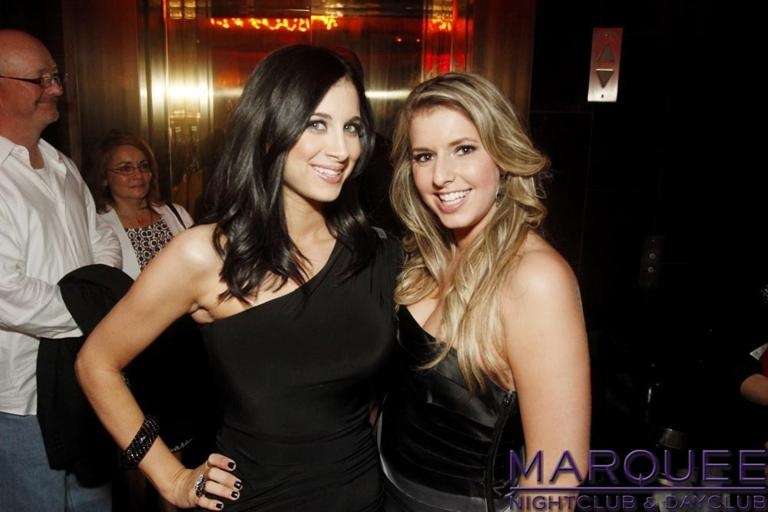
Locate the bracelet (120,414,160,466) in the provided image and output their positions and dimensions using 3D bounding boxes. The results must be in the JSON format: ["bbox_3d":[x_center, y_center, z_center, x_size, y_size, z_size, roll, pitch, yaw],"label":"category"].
[{"bbox_3d":[-1.196,0.913,3.069,0.193,0.077,0.204,-42,10,29],"label":"bracelet"}]

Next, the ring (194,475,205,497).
[{"bbox_3d":[-0.875,1.101,2.960,0.019,0.075,0.053,8,-1,-31],"label":"ring"}]
